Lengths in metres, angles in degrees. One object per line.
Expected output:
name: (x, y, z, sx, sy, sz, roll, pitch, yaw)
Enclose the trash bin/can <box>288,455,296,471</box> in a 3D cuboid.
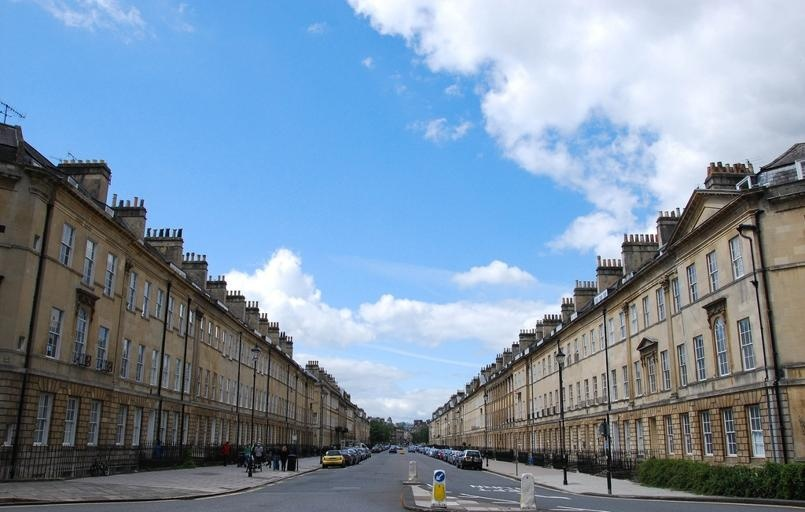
trash bin/can: (-9.240, 17.244, 53.668, 0.674, 1.217, 1.050, 5, -27, -8)
